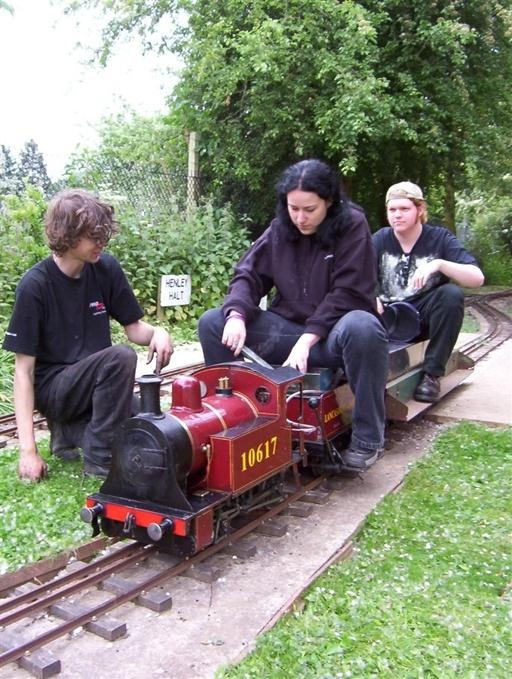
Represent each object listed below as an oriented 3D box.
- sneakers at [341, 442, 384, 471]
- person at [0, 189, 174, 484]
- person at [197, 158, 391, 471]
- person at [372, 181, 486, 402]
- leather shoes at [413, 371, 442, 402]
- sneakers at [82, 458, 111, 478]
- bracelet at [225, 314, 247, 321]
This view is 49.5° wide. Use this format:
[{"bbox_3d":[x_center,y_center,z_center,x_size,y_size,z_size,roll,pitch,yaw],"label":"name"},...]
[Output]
[{"bbox_3d":[0.633,0.710,3.333,0.106,0.111,0.282,-2,-4,27],"label":"sneakers"},{"bbox_3d":[-1.046,-0.052,3.419,0.944,1.672,0.679,-1,7,-33],"label":"person"},{"bbox_3d":[0.287,-0.183,3.477,1.118,1.828,0.786,6,7,35],"label":"person"},{"bbox_3d":[1.346,-0.422,4.853,1.205,1.819,1.092,-2,-3,34],"label":"person"},{"bbox_3d":[1.468,0.412,4.732,0.194,0.228,0.258,5,6,22],"label":"leather shoes"},{"bbox_3d":[-0.974,0.769,3.305,0.203,0.085,0.114,4,6,18],"label":"sneakers"},{"bbox_3d":[-0.122,-0.144,3.407,0.107,0.045,0.125,2,5,-4],"label":"bracelet"}]
